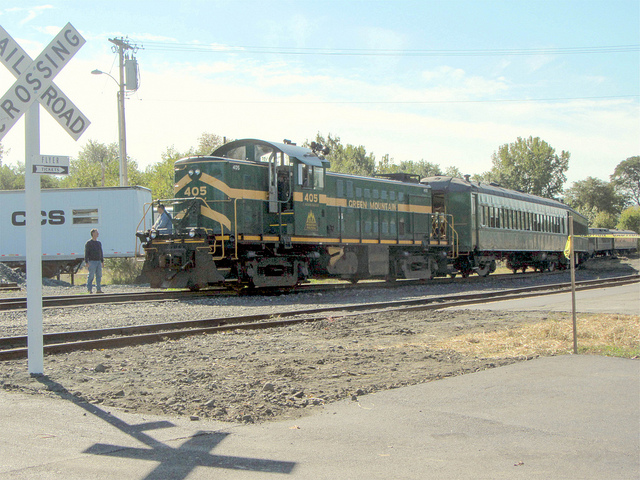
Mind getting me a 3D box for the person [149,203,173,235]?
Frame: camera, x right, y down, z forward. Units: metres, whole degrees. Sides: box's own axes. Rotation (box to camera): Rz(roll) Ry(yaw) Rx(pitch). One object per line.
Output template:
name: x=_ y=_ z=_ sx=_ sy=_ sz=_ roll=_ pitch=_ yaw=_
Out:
person: x=-4.831 y=-0.619 z=19.375 sx=0.657 sy=1.012 sz=1.077 roll=1 pitch=-3 yaw=-15
